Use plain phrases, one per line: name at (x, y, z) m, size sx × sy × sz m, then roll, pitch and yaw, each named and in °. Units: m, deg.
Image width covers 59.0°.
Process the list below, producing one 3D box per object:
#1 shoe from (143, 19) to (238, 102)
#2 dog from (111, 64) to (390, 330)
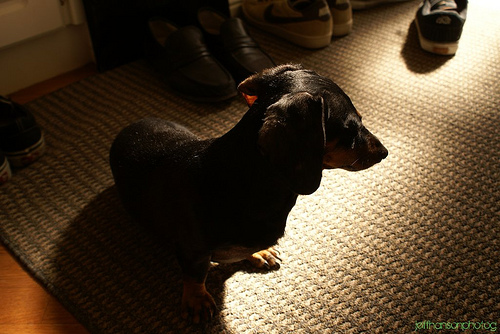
shoe at (-0.251, -0.443, 1.878) m, size 0.433 × 0.168 × 0.166 m, roll 40°, pitch 63°, yaw 18°
dog at (-0.065, -0.015, 1.300) m, size 0.648 × 0.578 × 0.575 m, roll -29°, pitch 59°, yaw -23°
